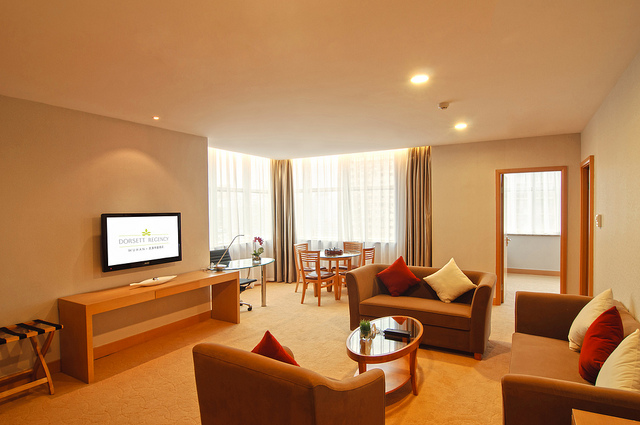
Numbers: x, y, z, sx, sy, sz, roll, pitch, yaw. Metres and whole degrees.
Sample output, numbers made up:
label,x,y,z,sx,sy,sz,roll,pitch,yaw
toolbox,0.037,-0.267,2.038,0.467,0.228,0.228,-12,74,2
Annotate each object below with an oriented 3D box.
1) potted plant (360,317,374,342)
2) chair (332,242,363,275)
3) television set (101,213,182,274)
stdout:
label,x,y,z,sx,sy,sz,roll,pitch,yaw
potted plant,0.550,1.359,4.889,0.194,0.313,0.205,2,-4,-11
chair,0.452,0.874,8.368,0.542,0.900,0.580,-1,-7,28
television set,-2.437,0.376,5.812,0.108,0.769,1.111,7,7,44
